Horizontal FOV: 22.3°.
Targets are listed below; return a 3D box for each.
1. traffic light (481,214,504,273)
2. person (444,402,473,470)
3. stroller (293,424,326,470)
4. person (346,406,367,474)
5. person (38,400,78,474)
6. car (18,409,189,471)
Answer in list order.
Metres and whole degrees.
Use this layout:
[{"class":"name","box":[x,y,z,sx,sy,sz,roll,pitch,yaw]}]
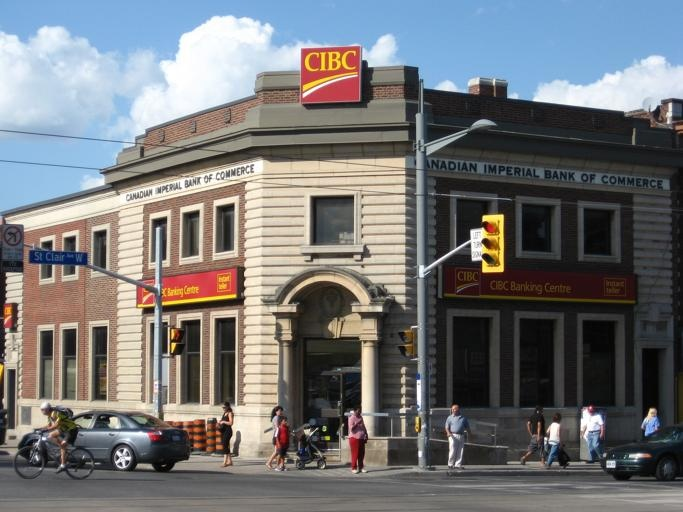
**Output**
[{"class":"traffic light","box":[4.847,-0.405,56.305,0.720,1.847,0.486,-2,-13,11]},{"class":"person","box":[3.924,6.222,59.612,1.056,2.114,0.675,2,-4,-32]},{"class":"stroller","box":[-1.128,6.536,59.410,0.983,1.489,0.733,4,-13,-16]},{"class":"person","box":[0.490,6.244,58.709,0.608,2.266,0.610,-1,-13,6]},{"class":"person","box":[-9.067,5.738,55.413,1.244,2.127,0.949,0,-9,-18]},{"class":"car","box":[-8.133,6.093,57.883,5.784,1.397,2.182,3,-7,13]}]
